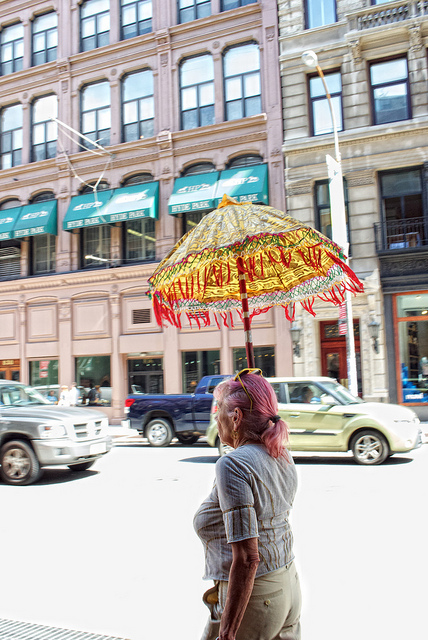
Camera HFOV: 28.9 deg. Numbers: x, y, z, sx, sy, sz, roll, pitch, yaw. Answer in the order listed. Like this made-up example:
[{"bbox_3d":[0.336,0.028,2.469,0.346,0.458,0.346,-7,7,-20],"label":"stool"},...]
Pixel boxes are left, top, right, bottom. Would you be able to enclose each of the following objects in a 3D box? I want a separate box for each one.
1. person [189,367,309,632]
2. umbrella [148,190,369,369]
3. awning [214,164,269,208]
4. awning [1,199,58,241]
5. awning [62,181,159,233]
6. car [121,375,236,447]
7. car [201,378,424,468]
[{"bbox_3d":[0.200,0.991,4.536,0.619,1.458,0.497,-3,-8,-15],"label":"person"},{"bbox_3d":[0.246,-0.240,6.553,1.369,1.121,1.262,-5,-19,-4],"label":"umbrella"},{"bbox_3d":[0.711,-3.780,23.235,1.393,1.470,1.402,-7,-8,19],"label":"awning"},{"bbox_3d":[-6.010,-3.234,27.254,2.791,0.765,1.145,2,19,36],"label":"awning"},{"bbox_3d":[-3.149,-3.532,25.457,3.309,1.425,1.128,-9,-8,34],"label":"awning"},{"bbox_3d":[-0.886,1.956,17.263,3.019,1.181,1.556,-4,-6,12],"label":"car"},{"bbox_3d":[1.549,1.712,13.978,3.677,1.417,1.743,-3,-2,18],"label":"car"}]
